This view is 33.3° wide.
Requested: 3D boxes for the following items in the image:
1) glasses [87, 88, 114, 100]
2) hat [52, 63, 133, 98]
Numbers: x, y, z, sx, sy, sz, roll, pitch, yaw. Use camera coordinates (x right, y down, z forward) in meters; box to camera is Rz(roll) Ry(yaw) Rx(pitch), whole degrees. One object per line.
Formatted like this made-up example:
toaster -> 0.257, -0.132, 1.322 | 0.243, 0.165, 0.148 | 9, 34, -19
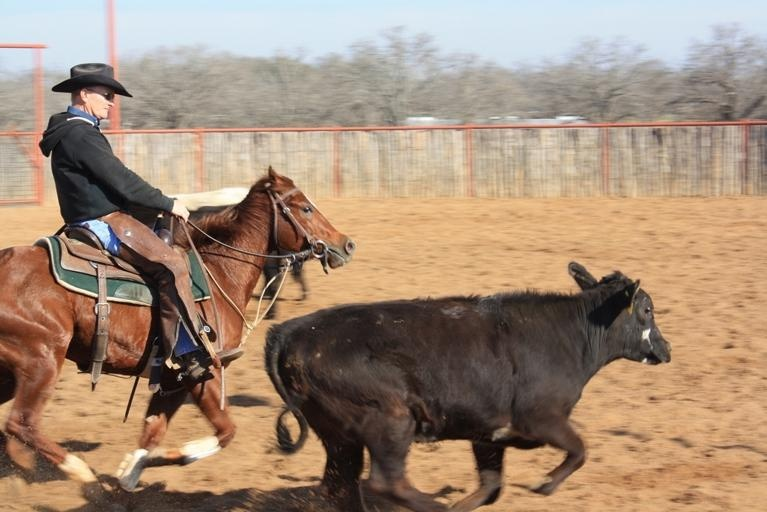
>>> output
glasses -> -3.489, -1.973, 15.779 | 0.264, 0.065, 0.170 | 6, -2, -19
hat -> -3.637, -2.176, 15.891 | 1.082, 0.256, 0.703 | -2, 2, 3
